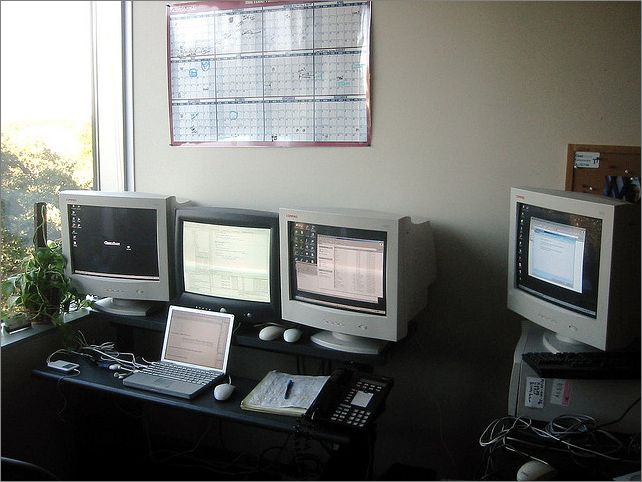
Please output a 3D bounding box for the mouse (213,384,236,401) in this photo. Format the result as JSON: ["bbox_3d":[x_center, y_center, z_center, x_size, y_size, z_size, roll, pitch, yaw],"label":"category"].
[{"bbox_3d":[-0.398,0.632,2.107,0.099,0.051,0.093,-5,10,-23],"label":"mouse"}]

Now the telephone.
[{"bbox_3d":[0.095,0.768,2.002,0.297,0.423,0.308,4,10,23],"label":"telephone"}]

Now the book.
[{"bbox_3d":[-0.150,0.638,2.091,0.198,0.032,0.203,2,16,17],"label":"book"}]

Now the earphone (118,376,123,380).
[{"bbox_3d":[-0.877,0.601,2.212,0.021,0.016,0.020,-4,10,-22],"label":"earphone"}]

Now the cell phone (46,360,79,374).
[{"bbox_3d":[-1.156,0.566,2.267,0.113,0.017,0.061,10,12,15],"label":"cell phone"}]

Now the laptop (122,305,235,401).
[{"bbox_3d":[-0.612,0.504,2.211,0.385,0.243,0.371,6,13,26],"label":"laptop"}]

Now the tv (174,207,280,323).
[{"bbox_3d":[-0.420,0.112,2.327,0.519,0.466,0.312,3,8,20],"label":"tv"}]

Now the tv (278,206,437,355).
[{"bbox_3d":[0.106,0.079,2.415,0.768,0.713,0.593,5,13,29],"label":"tv"}]
